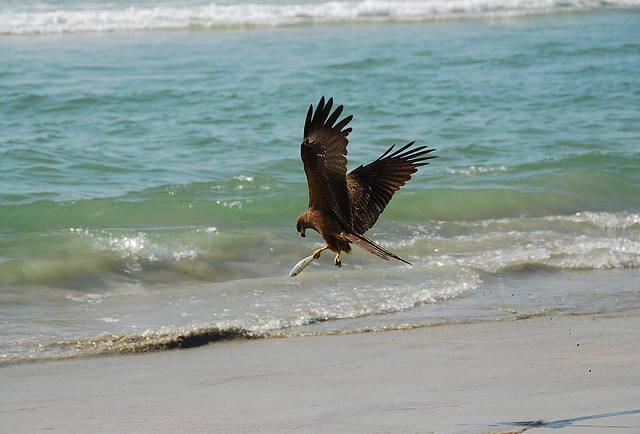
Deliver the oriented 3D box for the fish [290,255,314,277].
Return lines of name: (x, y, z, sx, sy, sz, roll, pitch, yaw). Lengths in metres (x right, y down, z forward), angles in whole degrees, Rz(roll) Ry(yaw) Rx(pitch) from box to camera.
fish: (-0.349, 1.109, 24.951, 0.906, 0.229, 0.189, -29, 25, 38)
